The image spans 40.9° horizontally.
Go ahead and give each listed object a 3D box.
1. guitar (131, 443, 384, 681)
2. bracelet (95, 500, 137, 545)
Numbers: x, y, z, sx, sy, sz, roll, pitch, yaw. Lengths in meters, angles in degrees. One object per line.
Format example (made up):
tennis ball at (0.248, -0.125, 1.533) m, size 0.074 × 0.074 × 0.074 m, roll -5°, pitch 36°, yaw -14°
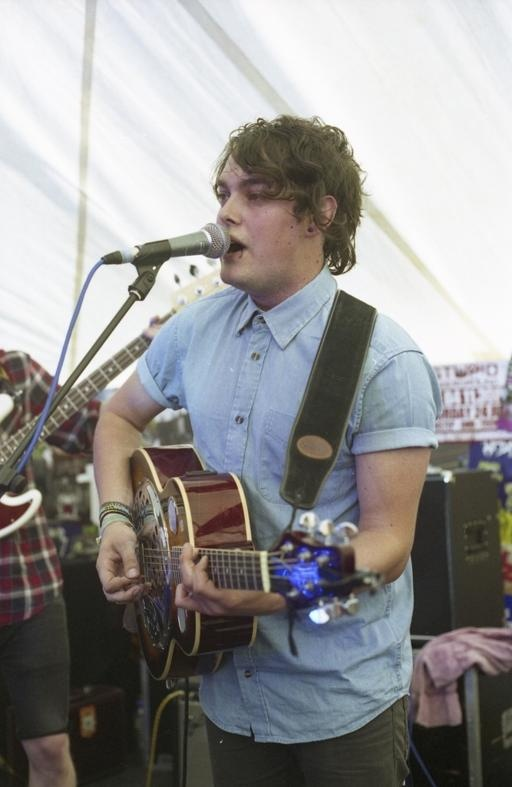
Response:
guitar at (-0.056, 0.307, 1.266) m, size 0.104 × 0.318 × 0.607 m, roll -1°, pitch 3°, yaw -18°
bracelet at (-0.335, 0.293, 1.597) m, size 0.075 × 0.090 × 0.067 m, roll 7°, pitch 27°, yaw -5°
